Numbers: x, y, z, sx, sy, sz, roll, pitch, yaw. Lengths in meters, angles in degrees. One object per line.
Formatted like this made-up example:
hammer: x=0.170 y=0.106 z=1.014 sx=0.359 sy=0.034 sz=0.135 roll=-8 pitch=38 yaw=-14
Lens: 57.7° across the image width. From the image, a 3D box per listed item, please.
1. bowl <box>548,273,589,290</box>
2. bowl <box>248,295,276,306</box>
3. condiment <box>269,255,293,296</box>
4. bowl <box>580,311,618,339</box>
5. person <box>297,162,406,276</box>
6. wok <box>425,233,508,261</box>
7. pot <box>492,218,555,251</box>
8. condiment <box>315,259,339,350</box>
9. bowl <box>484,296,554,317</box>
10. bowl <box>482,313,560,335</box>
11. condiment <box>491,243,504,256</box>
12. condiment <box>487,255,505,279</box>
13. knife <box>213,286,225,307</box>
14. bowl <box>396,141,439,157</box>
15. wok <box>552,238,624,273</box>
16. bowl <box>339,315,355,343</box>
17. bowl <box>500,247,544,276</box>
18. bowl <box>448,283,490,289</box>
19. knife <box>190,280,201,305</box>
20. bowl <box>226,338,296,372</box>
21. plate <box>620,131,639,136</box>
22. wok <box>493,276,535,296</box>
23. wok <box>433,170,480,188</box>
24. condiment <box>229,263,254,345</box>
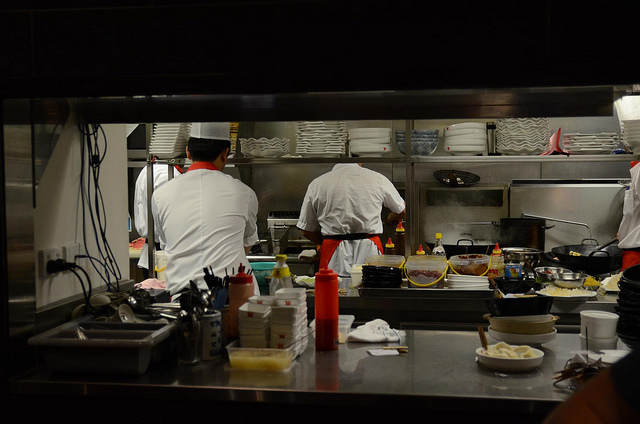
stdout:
bowl: x=1.577 y=0.439 z=3.714 sx=0.215 sy=0.090 sz=0.133 roll=7 pitch=15 yaw=22
bowl: x=-0.265 y=0.407 z=2.705 sx=0.083 sy=0.017 sz=0.054 roll=2 pitch=6 yaw=10
condiment: x=-0.198 y=0.319 z=2.955 sx=0.106 sy=0.195 sz=0.272 roll=0 pitch=14 yaw=-5
bowl: x=1.296 y=0.525 z=2.715 sx=0.158 sy=0.116 sz=0.142 roll=-1 pitch=-2 yaw=22
person: x=0.275 y=0.257 z=4.982 sx=0.816 sy=1.683 sz=0.547 roll=-2 pitch=18 yaw=-6
wok: x=1.368 y=0.309 z=5.237 sx=0.455 sy=0.222 sz=0.545 roll=-2 pitch=3 yaw=-11
pot: x=1.757 y=0.167 z=5.034 sx=0.438 sy=0.302 sz=0.260 roll=0 pitch=-1 yaw=33
condiment: x=0.033 y=0.459 z=2.784 sx=0.122 sy=0.366 sz=0.120 roll=-2 pitch=-7 yaw=14
bowl: x=0.926 y=0.425 z=2.817 sx=0.258 sy=0.100 sz=0.286 roll=-2 pitch=6 yaw=-12
bowl: x=0.952 y=0.531 z=2.749 sx=0.217 sy=0.055 sz=0.214 roll=-1 pitch=-5 yaw=0
condiment: x=1.224 y=0.264 z=4.027 sx=0.083 sy=0.087 sz=0.083 roll=0 pitch=-3 yaw=11
condiment: x=1.201 y=0.371 z=3.944 sx=0.139 sy=0.231 sz=0.138 roll=-1 pitch=-1 yaw=14
knife: x=-0.486 y=0.408 z=2.831 sx=0.048 sy=0.074 sz=0.088 roll=0 pitch=14 yaw=-6
bowl: x=0.913 y=-0.575 z=5.211 sx=0.217 sy=0.094 sz=0.213 roll=0 pitch=6 yaw=0
wok: x=2.066 y=0.348 z=4.402 sx=0.555 sy=0.193 sz=0.521 roll=-2 pitch=6 yaw=-11
bowl: x=0.136 y=0.575 z=2.900 sx=0.079 sy=0.043 sz=0.177 roll=0 pitch=5 yaw=6
bowl: x=1.413 y=0.347 z=4.053 sx=0.210 sy=0.131 sz=0.200 roll=0 pitch=-5 yaw=0
bowl: x=0.922 y=0.466 z=3.606 sx=0.242 sy=0.036 sz=0.051 roll=3 pitch=14 yaw=8
knife: x=-0.560 y=0.365 z=2.616 sx=0.027 sy=0.029 sz=0.113 roll=-4 pitch=29 yaw=-22
bowl: x=-0.290 y=0.682 z=2.720 sx=0.299 sy=0.137 sz=0.403 roll=6 pitch=-19 yaw=1
plate: x=2.642 y=-0.672 z=4.946 sx=0.111 sy=0.027 sz=0.115 roll=-2 pitch=5 yaw=-17
wok: x=1.245 y=0.456 z=3.736 sx=0.213 sy=0.102 sz=0.199 roll=13 pitch=18 yaw=40
wok: x=1.366 y=-0.334 z=5.766 sx=0.262 sy=0.068 sz=0.256 roll=4 pitch=18 yaw=-5
condiment: x=-0.374 y=0.453 z=2.790 sx=0.120 sy=0.345 sz=0.244 roll=-1 pitch=14 yaw=-7
